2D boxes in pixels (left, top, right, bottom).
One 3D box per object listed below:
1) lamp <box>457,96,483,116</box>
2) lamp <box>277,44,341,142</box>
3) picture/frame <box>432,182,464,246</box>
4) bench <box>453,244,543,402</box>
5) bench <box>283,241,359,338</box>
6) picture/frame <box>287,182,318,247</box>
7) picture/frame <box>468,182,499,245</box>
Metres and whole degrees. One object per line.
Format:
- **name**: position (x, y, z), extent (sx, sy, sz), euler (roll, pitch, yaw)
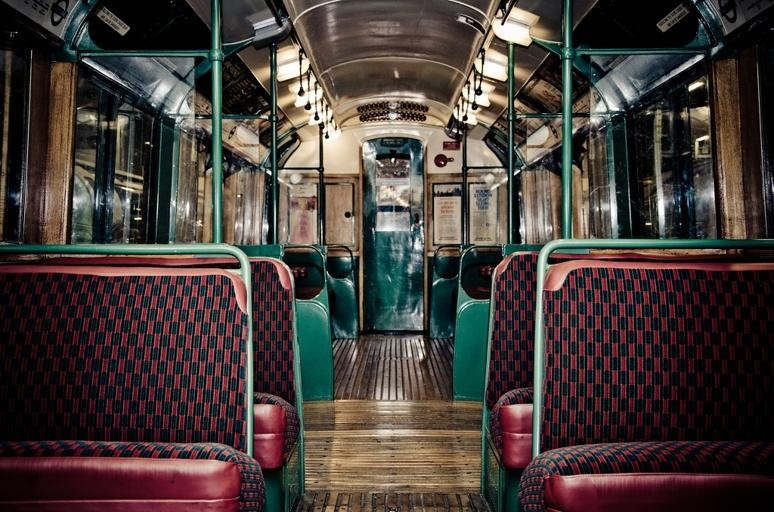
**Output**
- **lamp**: position (1.129, -2.113, 8.703), extent (0.292, 0.316, 0.225), euler (6, 42, 7)
- **lamp**: position (-1.046, -2.136, 8.390), extent (0.690, 1.077, 2.753), euler (-1, 13, -4)
- **picture/frame**: position (0.966, -0.631, 9.831), extent (0.492, 1.120, 0.071), euler (0, -22, 3)
- **bench**: position (1.040, 0.608, 5.939), extent (0.762, 1.546, 0.833), euler (-5, -11, 18)
- **bench**: position (-1.046, 0.489, 8.463), extent (1.192, 1.840, 0.973), euler (-1, -1, 3)
- **picture/frame**: position (-1.341, -0.696, 9.847), extent (0.473, 0.918, 0.388), euler (-2, 11, -10)
- **picture/frame**: position (1.546, -0.683, 9.830), extent (0.455, 0.930, 0.344), euler (1, 11, 4)
